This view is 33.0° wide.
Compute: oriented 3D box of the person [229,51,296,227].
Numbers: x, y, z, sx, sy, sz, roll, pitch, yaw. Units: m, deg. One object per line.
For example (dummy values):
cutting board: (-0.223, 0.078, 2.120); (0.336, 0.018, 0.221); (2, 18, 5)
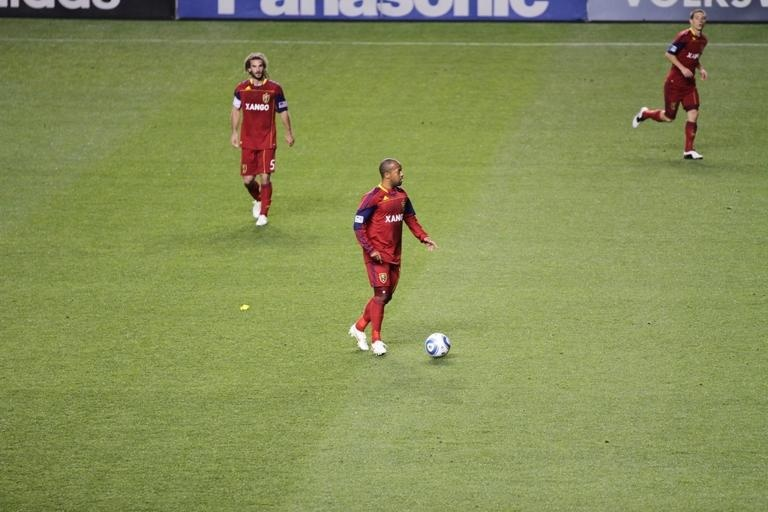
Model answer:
person: (-2.132, -2.027, 22.559); (0.986, 2.979, 0.757); (-3, 20, -4)

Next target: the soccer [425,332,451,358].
soccer: (0.741, 1.309, 18.901); (0.357, 0.347, 0.351); (8, -1, -18)

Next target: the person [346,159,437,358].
person: (0.036, 0.012, 18.894); (1.037, 2.812, 0.660); (-14, 23, -31)

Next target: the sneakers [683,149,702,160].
sneakers: (5.974, -1.956, 25.129); (0.371, 0.156, 0.149); (2, 4, 30)
